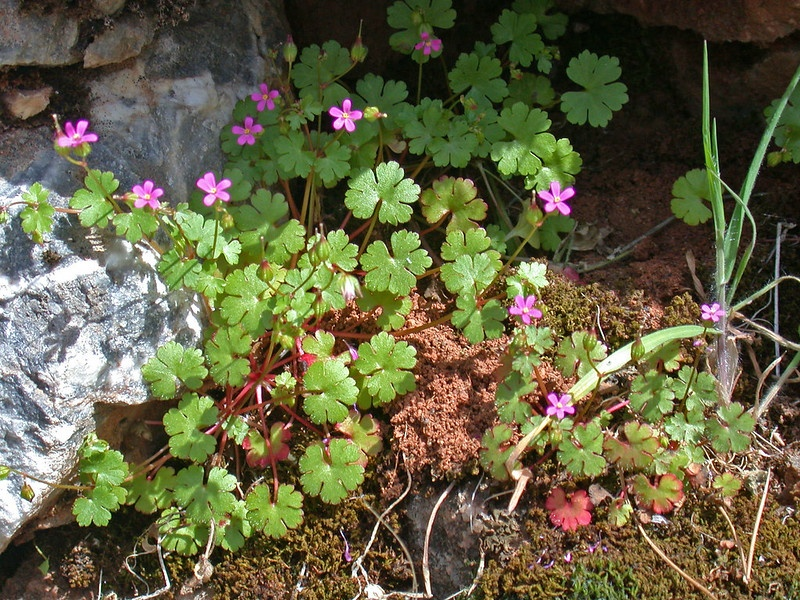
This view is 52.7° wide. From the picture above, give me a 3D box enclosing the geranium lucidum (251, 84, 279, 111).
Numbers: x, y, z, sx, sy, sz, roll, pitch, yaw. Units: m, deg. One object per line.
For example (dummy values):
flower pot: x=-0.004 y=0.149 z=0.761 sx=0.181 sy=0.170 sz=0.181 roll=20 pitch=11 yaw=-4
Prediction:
geranium lucidum: x=-0.711 y=-1.046 z=4.210 sx=0.144 sy=0.163 sz=0.043 roll=26 pitch=16 yaw=29
